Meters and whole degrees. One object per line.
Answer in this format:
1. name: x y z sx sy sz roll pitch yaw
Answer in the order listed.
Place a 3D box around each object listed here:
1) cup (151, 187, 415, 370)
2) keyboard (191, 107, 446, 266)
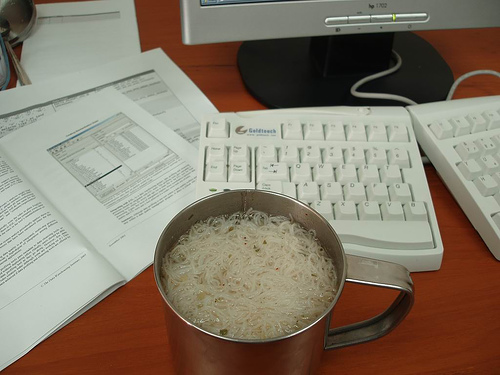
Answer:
1. cup: 0.023 0.097 0.430 0.242 0.159 0.164 1 56 0
2. keyboard: 0.107 -0.036 0.438 0.258 0.064 0.213 2 61 0
